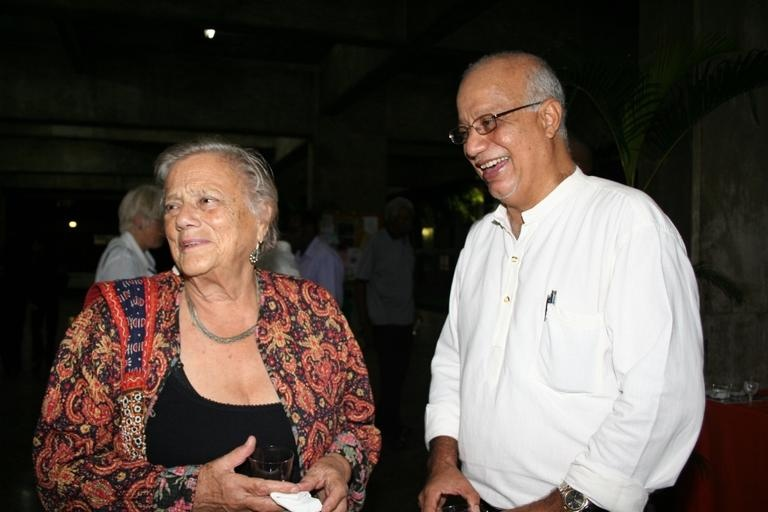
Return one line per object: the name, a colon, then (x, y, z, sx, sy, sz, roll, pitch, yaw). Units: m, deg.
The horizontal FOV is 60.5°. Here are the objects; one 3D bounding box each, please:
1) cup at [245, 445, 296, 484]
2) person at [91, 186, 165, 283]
cup: (-0.567, 1.050, 3.355, 0.167, 0.171, 0.195, 5, -14, -17)
person: (-2.304, -0.174, 5.905, 0.581, 1.129, 1.078, 0, -1, -14)
